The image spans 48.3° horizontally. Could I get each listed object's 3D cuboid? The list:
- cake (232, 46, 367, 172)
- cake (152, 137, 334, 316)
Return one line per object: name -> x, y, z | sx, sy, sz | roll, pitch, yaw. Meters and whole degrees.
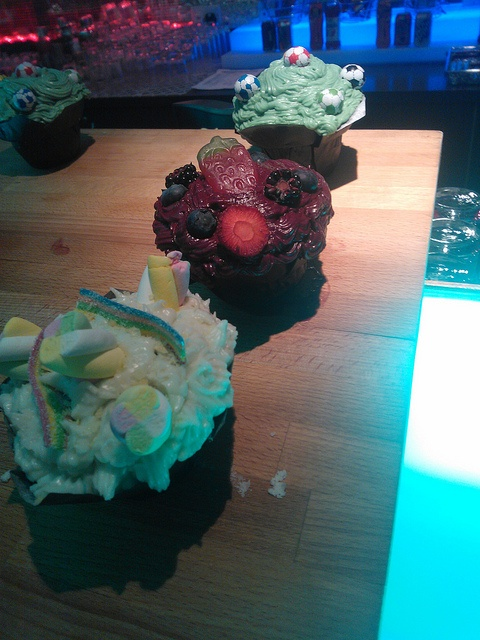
cake -> 0.134, -0.527, 1.415 | 0.391, 0.281, 0.338 | -3, 33, 5
cake -> -0.003, -0.133, 0.957 | 0.315, 0.196, 0.268 | -16, 57, -6
